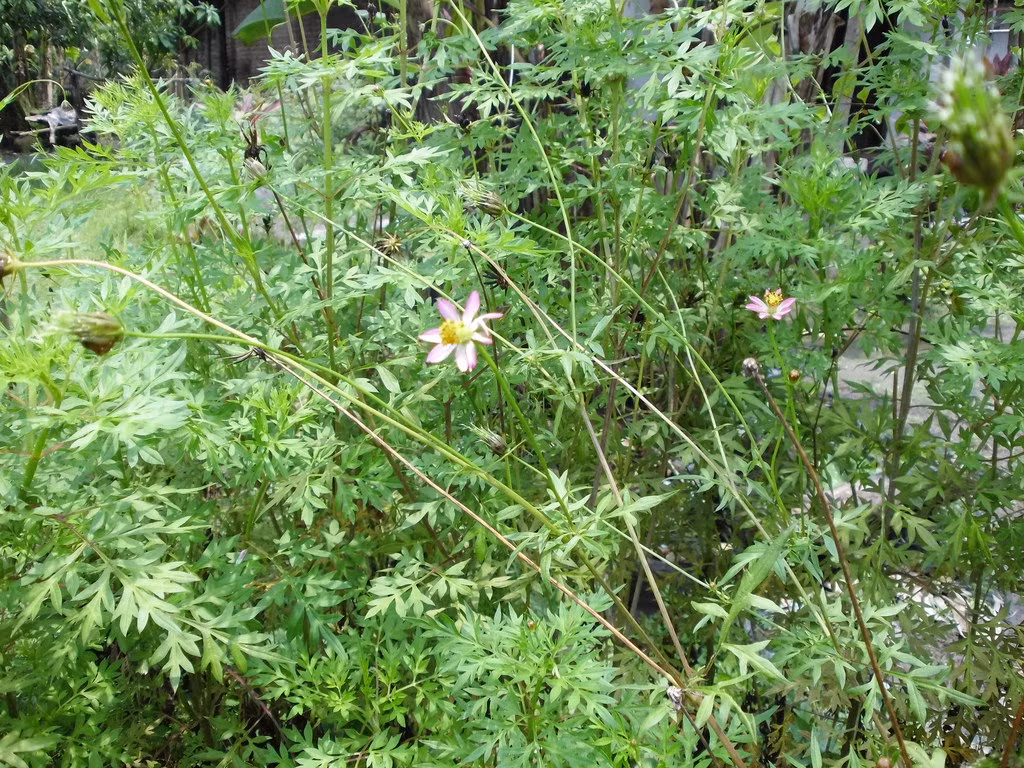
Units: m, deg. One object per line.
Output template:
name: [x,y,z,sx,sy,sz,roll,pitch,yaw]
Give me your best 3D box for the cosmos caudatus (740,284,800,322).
cosmos caudatus: [0.576,-0.183,1.853,0.104,0.055,0.105,-23,31,-29]
